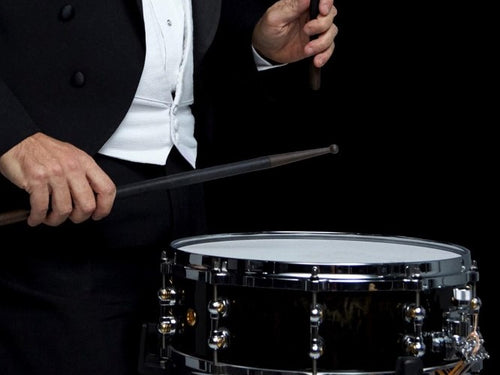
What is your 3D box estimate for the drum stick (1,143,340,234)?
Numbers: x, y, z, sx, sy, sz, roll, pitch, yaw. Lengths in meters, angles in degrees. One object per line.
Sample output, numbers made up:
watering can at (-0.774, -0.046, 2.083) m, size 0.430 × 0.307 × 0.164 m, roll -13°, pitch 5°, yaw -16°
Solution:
drum stick at (-0.225, -0.004, 1.850) m, size 1.445 × 0.065 × 0.083 m, roll -12°, pitch -36°, yaw -14°
